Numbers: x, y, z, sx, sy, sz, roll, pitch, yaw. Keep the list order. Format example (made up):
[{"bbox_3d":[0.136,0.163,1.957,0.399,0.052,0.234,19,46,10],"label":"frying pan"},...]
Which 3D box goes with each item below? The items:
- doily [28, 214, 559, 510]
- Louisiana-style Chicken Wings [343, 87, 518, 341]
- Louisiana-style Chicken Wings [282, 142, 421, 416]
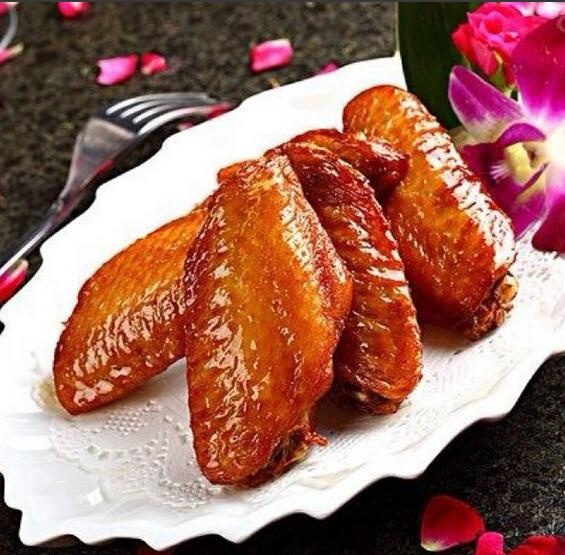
[{"bbox_3d":[-0.037,0.180,1.126,0.572,0.370,0.422,-25,42,-26],"label":"doily"},{"bbox_3d":[0.208,-0.085,1.038,0.181,0.128,0.335,-34,84,22],"label":"Louisiana-style Chicken Wings"},{"bbox_3d":[0.077,0.006,0.906,0.193,0.089,0.304,-31,102,-39],"label":"Louisiana-style Chicken Wings"}]
